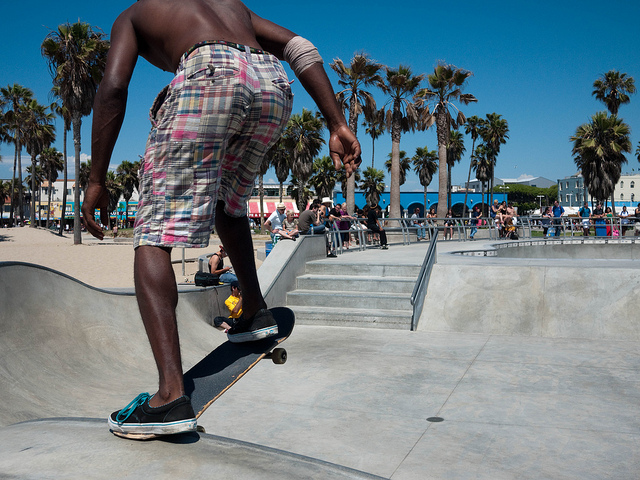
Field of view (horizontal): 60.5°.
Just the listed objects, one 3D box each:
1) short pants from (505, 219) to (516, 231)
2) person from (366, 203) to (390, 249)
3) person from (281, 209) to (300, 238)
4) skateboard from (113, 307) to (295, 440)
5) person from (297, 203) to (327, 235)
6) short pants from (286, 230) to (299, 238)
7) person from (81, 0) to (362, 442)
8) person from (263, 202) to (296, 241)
[{"bbox_3d":[6.920,-0.557,20.035,0.367,0.468,0.264,1,-29,1],"label":"short pants"},{"bbox_3d":[1.784,-0.472,16.989,0.599,1.367,1.749,-1,3,6],"label":"person"},{"bbox_3d":[-0.598,-0.401,13.967,0.508,0.787,0.727,1,-6,-10],"label":"person"},{"bbox_3d":[-0.519,0.722,3.184,0.373,0.234,1.441,5,21,29],"label":"skateboard"},{"bbox_3d":[-0.196,-0.412,13.626,0.646,1.042,0.528,-2,5,-34],"label":"person"},{"bbox_3d":[-0.619,-0.143,12.917,0.174,0.262,0.083,-7,7,-33],"label":"short pants"},{"bbox_3d":[-0.599,-0.199,3.126,1.365,2.385,0.675,-4,4,-29],"label":"person"},{"bbox_3d":[-0.932,-0.453,14.644,0.870,1.197,0.599,6,10,25],"label":"person"}]
